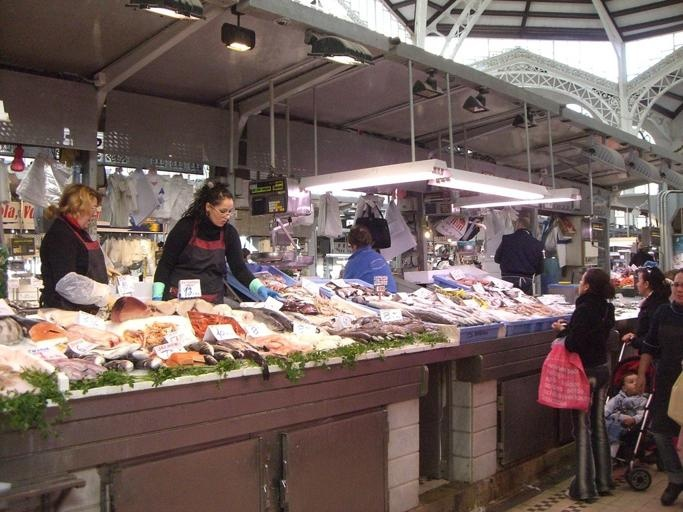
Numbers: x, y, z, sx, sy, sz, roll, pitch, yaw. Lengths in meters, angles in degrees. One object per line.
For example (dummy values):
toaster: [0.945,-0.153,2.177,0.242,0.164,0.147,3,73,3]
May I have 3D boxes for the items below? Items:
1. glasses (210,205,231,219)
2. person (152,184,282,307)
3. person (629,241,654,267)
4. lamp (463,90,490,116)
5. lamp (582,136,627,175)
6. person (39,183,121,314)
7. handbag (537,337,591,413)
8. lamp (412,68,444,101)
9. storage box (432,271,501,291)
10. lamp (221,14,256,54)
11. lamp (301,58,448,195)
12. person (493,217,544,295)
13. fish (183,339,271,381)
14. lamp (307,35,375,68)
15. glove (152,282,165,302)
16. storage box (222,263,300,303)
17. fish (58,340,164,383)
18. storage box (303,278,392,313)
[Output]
glasses: [-0.858,-0.315,4.204,0.081,0.071,0.133,2,6,26]
person: [-0.962,-0.088,4.313,0.461,0.920,0.761,4,7,41]
person: [5.757,-0.005,11.019,0.339,0.498,1.212,2,6,26]
lamp: [1.547,-1.774,6.702,0.243,0.128,0.328,-4,0,6]
lamp: [3.889,-1.516,8.529,0.953,0.449,0.294,-6,8,-44]
person: [-1.690,-0.059,3.666,0.431,0.804,0.725,-3,6,-25]
handbag: [1.674,0.895,4.276,0.403,0.583,0.193,-2,5,-18]
lamp: [0.973,-1.862,6.417,0.205,0.344,0.374,-3,-5,40]
storage box: [1.314,0.264,6.163,0.322,0.094,0.329,9,10,41]
lamp: [-0.822,-1.781,4.583,0.226,0.244,0.154,-5,7,-42]
lamp: [0.335,-1.591,6.889,2.206,1.840,0.738,1,11,33]
person: [2.440,0.234,7.889,0.570,1.547,0.537,10,25,24]
fish: [-0.594,0.561,3.097,0.344,0.172,0.340,-4,7,-32]
lamp: [0.013,-1.719,4.806,0.563,0.188,0.225,-5,7,-41]
glove: [-1.254,0.235,3.957,0.100,0.110,0.108,2,-10,-13]
storage box: [-0.718,0.220,4.954,0.303,0.188,0.415,11,-5,40]
fish: [-1.151,0.509,2.846,0.310,0.065,0.214,2,11,-43]
storage box: [0.053,0.315,5.019,0.496,0.131,0.359,13,12,35]
